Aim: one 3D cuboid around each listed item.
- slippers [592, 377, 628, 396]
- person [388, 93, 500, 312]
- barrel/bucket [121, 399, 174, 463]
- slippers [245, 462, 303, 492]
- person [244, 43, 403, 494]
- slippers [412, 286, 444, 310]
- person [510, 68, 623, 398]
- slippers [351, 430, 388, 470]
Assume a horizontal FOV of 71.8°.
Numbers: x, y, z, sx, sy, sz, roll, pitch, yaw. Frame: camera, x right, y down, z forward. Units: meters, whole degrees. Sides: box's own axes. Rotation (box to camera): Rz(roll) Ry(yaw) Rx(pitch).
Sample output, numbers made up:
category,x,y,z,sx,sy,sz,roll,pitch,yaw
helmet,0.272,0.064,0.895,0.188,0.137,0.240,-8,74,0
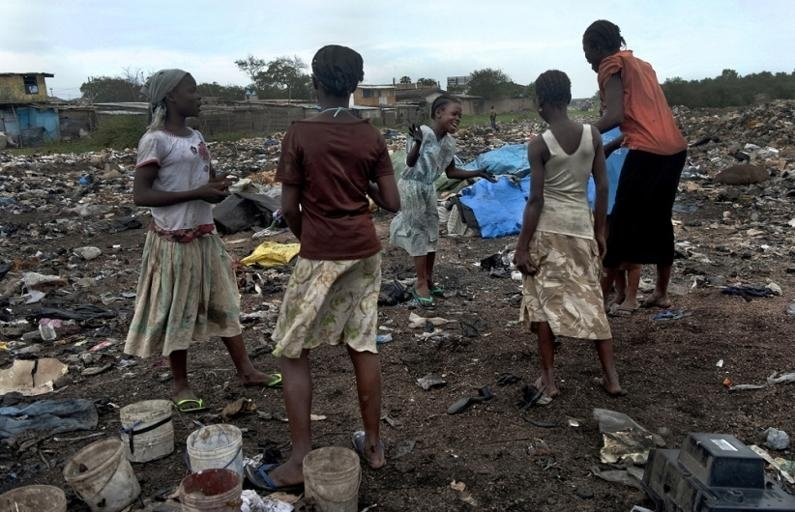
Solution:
category,x,y,z,sx,sy,sz,roll,pitch,yaw
slippers,1.612,1.001,4.237,0.097,0.120,0.291,-10,-1,-21
person,0.379,-0.631,6.039,0.975,2.200,0.852,-4,14,-1
barrel/bucket,-1.774,1.225,3.986,0.425,0.336,0.403,-1,1,0
slippers,-0.814,1.435,3.560,0.356,0.078,0.155,12,16,5
person,-0.469,0.069,3.520,1.043,2.759,0.571,-11,16,-28
slippers,0.342,0.460,5.980,0.162,0.143,0.387,-1,1,-23
person,1.283,-0.153,4.085,0.784,2.395,0.616,-1,14,11
slippers,-0.218,1.292,3.769,0.132,0.144,0.353,-37,53,-6
